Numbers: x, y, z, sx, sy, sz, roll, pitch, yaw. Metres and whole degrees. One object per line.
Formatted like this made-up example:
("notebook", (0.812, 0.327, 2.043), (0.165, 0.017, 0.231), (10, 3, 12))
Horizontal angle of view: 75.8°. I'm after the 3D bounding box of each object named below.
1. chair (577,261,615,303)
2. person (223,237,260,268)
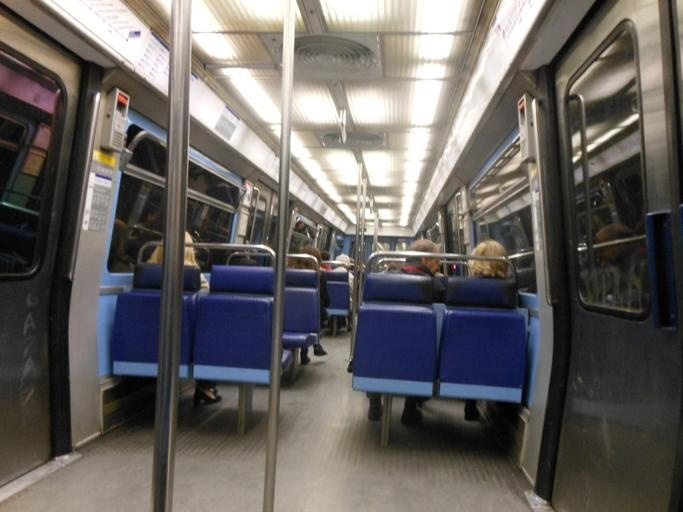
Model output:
("chair", (1.643, 0.174, 2.867), (0.286, 0.284, 0.180), (6, -8, -25))
("person", (-1.620, -0.174, 7.113), (0.638, 0.516, 0.500), (3, 14, -3))
